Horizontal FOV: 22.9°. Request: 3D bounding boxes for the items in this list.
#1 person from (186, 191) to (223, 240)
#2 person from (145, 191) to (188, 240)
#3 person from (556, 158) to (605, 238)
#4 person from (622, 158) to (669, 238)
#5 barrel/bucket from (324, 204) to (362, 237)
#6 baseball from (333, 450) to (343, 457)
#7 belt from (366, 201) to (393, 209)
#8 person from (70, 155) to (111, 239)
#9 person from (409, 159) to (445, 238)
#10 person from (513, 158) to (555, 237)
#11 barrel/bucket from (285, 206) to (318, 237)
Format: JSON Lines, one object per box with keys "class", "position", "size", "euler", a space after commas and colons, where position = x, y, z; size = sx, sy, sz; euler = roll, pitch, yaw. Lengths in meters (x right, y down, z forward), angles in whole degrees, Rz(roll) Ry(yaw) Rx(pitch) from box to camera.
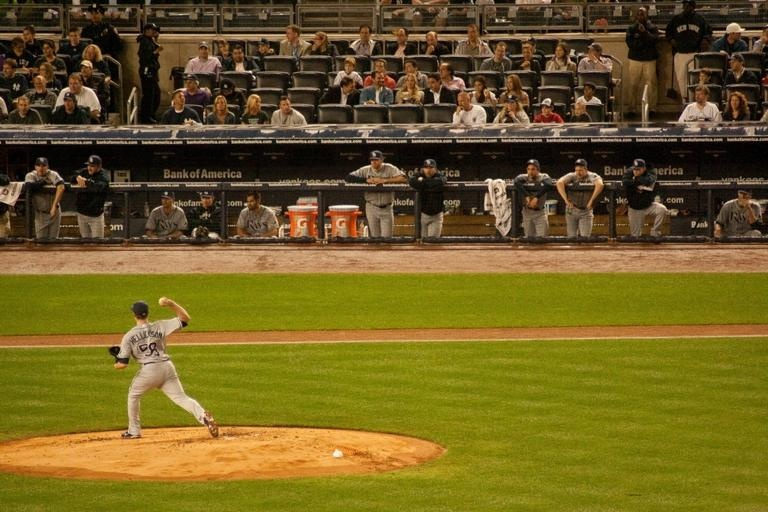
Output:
{"class": "person", "position": [-4.081, -0.930, 43.067], "size": [0.763, 1.080, 0.312], "euler": [2, 1, -1]}
{"class": "person", "position": [-4.993, -0.895, 43.130], "size": [0.779, 1.146, 0.789], "euler": [2, -5, -9]}
{"class": "person", "position": [4.428, -1.292, 42.834], "size": [1.050, 1.749, 0.577], "euler": [2, 1, 5]}
{"class": "person", "position": [5.897, -1.296, 42.883], "size": [1.063, 1.753, 0.490], "euler": [2, 1, 2]}
{"class": "barrel/bucket", "position": [-0.936, -0.819, 43.435], "size": [1.052, 0.852, 0.690], "euler": [0, 6, 3]}
{"class": "baseball", "position": [-0.828, 3.514, 33.673], "size": [0.132, 0.083, 0.129], "euler": [-1, 2, 34]}
{"class": "belt", "position": [-0.088, -1.172, 43.082], "size": [0.531, 0.126, 0.044], "euler": [1, 1, 4]}
{"class": "person", "position": [-6.588, -1.363, 43.160], "size": [0.873, 1.813, 0.840], "euler": [4, -7, -22]}
{"class": "person", "position": [0.985, -1.298, 43.040], "size": [0.788, 1.782, 0.474], "euler": [2, 1, 1]}
{"class": "person", "position": [3.429, -1.329, 42.981], "size": [0.891, 1.726, 0.699], "euler": [0, -5, -1]}
{"class": "barrel/bucket", "position": [-1.839, -0.816, 43.512], "size": [1.049, 0.812, 0.671], "euler": [0, 2, -4]}
